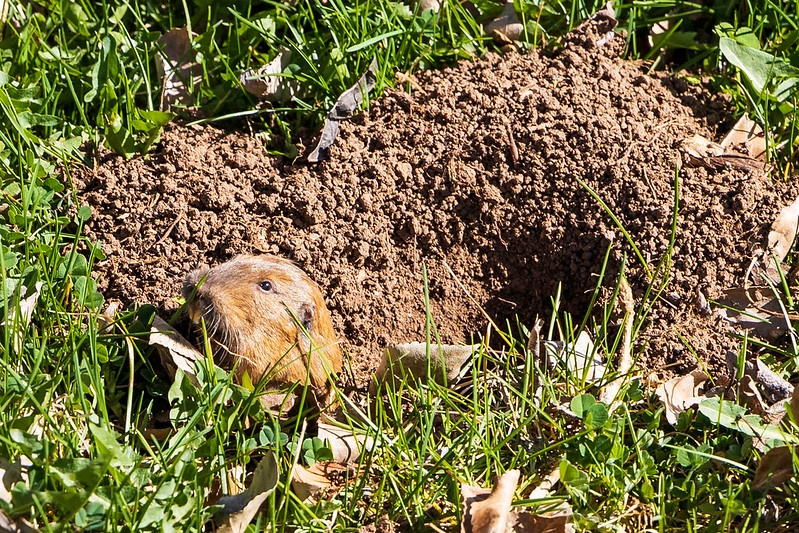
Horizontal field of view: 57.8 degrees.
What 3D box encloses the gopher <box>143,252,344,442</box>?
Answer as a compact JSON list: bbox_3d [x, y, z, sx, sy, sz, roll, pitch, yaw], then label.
[{"bbox_3d":[-0.683,0.286,3.500,0.902,0.408,0.721,17,50,6],"label":"gopher"}]
